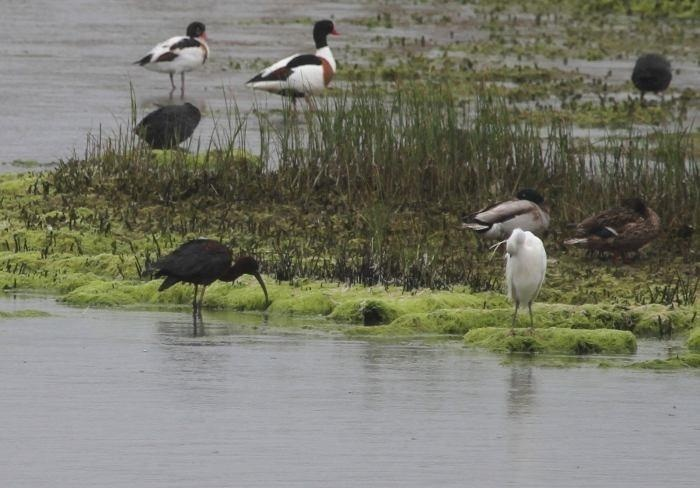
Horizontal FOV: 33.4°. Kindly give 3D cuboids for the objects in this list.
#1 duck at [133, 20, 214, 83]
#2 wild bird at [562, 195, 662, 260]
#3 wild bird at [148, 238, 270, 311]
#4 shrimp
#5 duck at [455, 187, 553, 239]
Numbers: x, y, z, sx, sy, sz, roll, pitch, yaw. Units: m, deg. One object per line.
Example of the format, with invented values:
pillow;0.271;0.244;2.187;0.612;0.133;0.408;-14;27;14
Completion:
duck;-4.303;-4.813;29.339;1.440;1.872;1.756;0;1;0
wild bird;3.769;-0.243;17.113;1.372;0.858;0.733;-7;10;6
wild bird;-1.981;0.432;15.765;1.479;1.010;0.929;-1;1;-41
shrimp;-3.334;-2.207;21.633;1.077;0.862;0.468;0;0;-6
duck;2.344;-0.408;17.330;1.400;0.816;0.733;-2;-8;2
